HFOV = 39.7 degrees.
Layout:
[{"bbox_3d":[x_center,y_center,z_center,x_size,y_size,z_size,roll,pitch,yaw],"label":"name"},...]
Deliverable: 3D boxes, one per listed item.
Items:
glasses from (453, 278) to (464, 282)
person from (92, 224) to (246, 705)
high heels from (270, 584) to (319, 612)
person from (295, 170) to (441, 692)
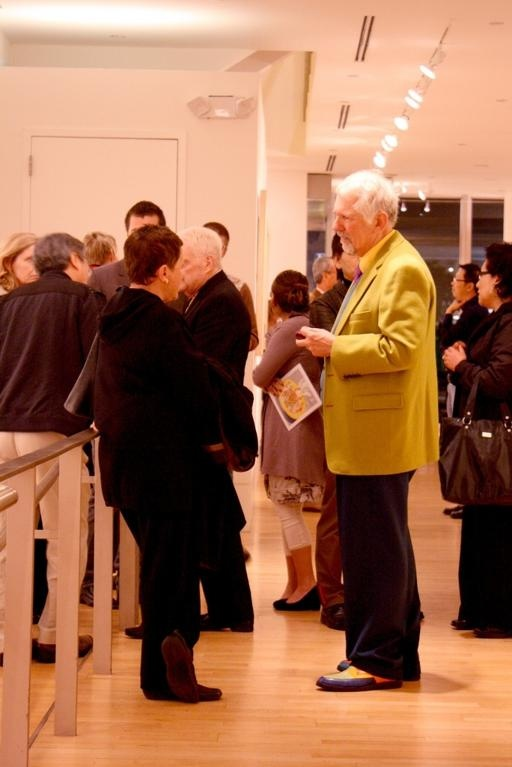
[{"bbox_3d":[2.126,-1.096,7.376,0.081,0.023,0.078,4,1,3],"label":"glasses"},{"bbox_3d":[-0.303,0.259,2.089,0.395,1.423,0.442,2,-5,-2],"label":"person"},{"bbox_3d":[0.182,1.038,3.487,0.257,0.171,0.117,3,-6,0],"label":"high heels"},{"bbox_3d":[0.364,0.156,2.317,0.424,1.692,0.467,-1,-6,26],"label":"person"}]
